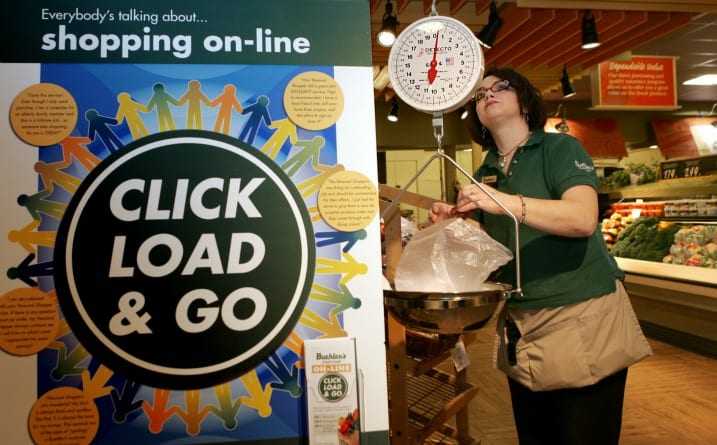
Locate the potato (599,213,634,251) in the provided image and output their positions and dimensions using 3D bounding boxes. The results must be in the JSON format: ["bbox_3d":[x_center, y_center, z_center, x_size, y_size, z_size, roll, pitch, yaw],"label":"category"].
[{"bbox_3d":[3.283,0.113,6.990,0.499,0.165,0.395,-37,21,46],"label":"potato"}]
